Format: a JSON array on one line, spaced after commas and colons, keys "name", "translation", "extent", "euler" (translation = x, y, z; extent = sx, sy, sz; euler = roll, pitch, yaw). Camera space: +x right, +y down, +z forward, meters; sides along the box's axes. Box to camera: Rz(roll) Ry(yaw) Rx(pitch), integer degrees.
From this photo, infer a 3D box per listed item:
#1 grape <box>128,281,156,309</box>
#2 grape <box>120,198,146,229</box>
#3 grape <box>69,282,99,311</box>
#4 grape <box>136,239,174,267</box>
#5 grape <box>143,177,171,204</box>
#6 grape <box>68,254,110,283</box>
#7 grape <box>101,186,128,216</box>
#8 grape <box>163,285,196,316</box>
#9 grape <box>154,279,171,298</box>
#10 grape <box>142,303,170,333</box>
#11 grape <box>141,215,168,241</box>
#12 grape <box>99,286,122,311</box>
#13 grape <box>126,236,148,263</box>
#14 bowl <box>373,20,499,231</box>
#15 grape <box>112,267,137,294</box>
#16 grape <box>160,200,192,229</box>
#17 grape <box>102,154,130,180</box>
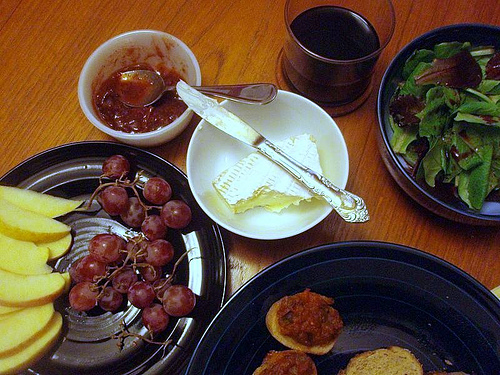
[{"name": "grape", "translation": [-0.307, 0.302, 1.368], "extent": [0.058, 0.070, 0.086], "euler": [8, 102, 7]}, {"name": "grape", "translation": [-0.344, 0.074, 1.428], "extent": [0.055, 0.080, 0.068], "euler": [7, 84, -5]}, {"name": "grape", "translation": [-0.458, 0.301, 1.340], "extent": [0.058, 0.082, 0.073], "euler": [1, 81, -10]}, {"name": "grape", "translation": [-0.271, 0.187, 1.387], "extent": [0.092, 0.056, 0.059], "euler": [-16, 38, -12]}, {"name": "grape", "translation": [-0.277, 0.008, 1.473], "extent": [0.077, 0.069, 0.075], "euler": [17, 85, -37]}, {"name": "grape", "translation": [-0.462, 0.236, 1.393], "extent": [0.092, 0.063, 0.070], "euler": [-4, 57, 5]}, {"name": "grape", "translation": [-0.395, 0.038, 1.414], "extent": [0.067, 0.092, 0.067], "euler": [-6, 21, -39]}, {"name": "grape", "translation": [-0.199, 0.316, 1.407], "extent": [0.090, 0.079, 0.092], "euler": [23, 31, 38]}, {"name": "grape", "translation": [-0.254, 0.284, 1.397], "extent": [0.037, 0.032, 0.051], "euler": [-1, 58, -11]}, {"name": "grape", "translation": [-0.267, 0.366, 1.365], "extent": [0.062, 0.040, 0.080], "euler": [3, 87, -10]}, {"name": "grape", "translation": [-0.279, 0.120, 1.423], "extent": [0.072, 0.070, 0.070], "euler": [14, 48, -29]}, {"name": "grape", "translation": [-0.395, 0.322, 1.378], "extent": [0.056, 0.065, 0.061], "euler": [12, 28, -9]}, {"name": "grape", "translation": [-0.335, 0.184, 1.410], "extent": [0.051, 0.038, 0.077], "euler": [-1, 79, -2]}, {"name": "bowl", "translation": [0.501, -0.188, 1.383], "extent": [0.452, 0.189, 0.579], "euler": [0, 92, 3]}, {"name": "grape", "translation": [-0.374, 0.268, 1.426], "extent": [0.065, 0.064, 0.076], "euler": [-14, 76, 24]}, {"name": "grape", "translation": [-0.213, 0.080, 1.458], "extent": [0.078, 0.072, 0.083], "euler": [31, 74, -26]}, {"name": "grape", "translation": [-0.395, -0.063, 1.436], "extent": [0.064, 0.071, 0.078], "euler": [24, 54, 1]}]
